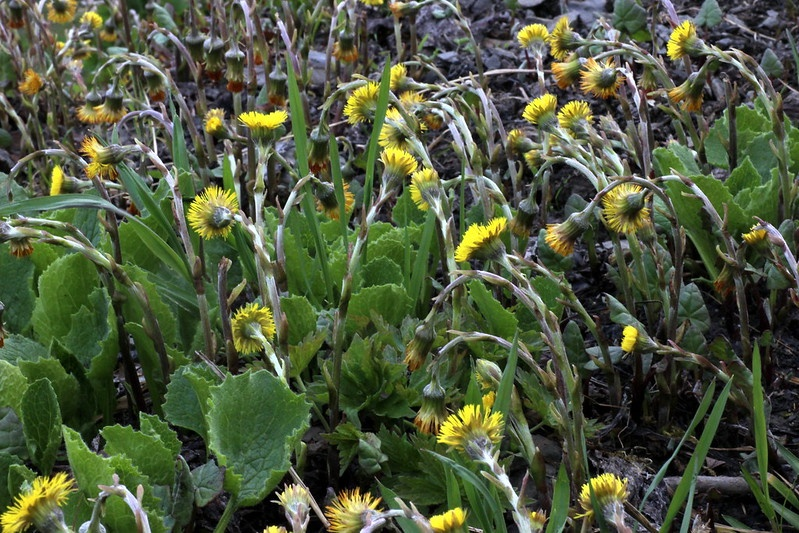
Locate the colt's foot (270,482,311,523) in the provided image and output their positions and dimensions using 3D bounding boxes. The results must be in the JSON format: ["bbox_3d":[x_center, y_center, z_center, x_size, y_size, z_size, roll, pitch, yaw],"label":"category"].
[{"bbox_3d":[-0.256,0.581,1.977,0.067,0.079,0.119,1,30,2],"label":"colt's foot"}]
